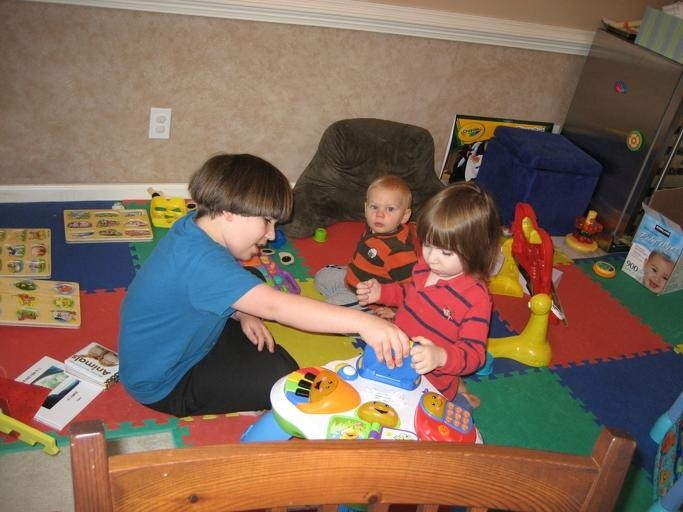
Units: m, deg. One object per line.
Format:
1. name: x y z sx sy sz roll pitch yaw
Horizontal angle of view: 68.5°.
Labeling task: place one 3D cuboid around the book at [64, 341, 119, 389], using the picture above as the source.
1. book: -1.002 0.440 2.036 0.182 0.047 0.185 23 38 12

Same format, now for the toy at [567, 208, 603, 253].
1. toy: 1.625 -0.163 3.351 0.182 0.205 0.181 -27 44 -33

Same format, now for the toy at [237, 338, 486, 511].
1. toy: 0.072 0.426 1.395 0.407 0.177 0.406 -10 37 -32

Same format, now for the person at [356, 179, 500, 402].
1. person: 0.326 0.139 1.910 0.393 0.936 0.470 -12 44 -18

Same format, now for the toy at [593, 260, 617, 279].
1. toy: 1.665 0.084 3.166 0.191 0.116 0.122 4 -5 -43

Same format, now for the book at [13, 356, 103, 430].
1. book: -1.079 0.538 1.943 0.240 0.026 0.226 24 34 14
